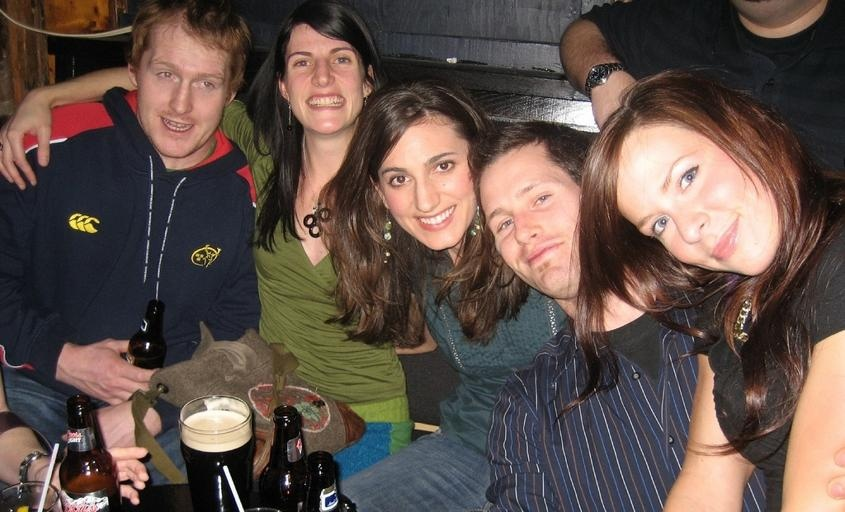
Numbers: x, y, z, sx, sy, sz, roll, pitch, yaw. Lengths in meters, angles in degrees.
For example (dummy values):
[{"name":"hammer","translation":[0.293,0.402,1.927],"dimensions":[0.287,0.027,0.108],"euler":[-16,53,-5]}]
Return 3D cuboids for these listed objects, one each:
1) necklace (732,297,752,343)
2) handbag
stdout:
[{"name":"necklace","translation":[1.317,0.267,3.008],"dimensions":[0.046,0.153,0.116],"euler":[13,13,24]},{"name":"handbag","translation":[-0.931,0.749,3.729],"dimensions":[1.090,0.354,1.188],"euler":[21,-2,-25]}]
